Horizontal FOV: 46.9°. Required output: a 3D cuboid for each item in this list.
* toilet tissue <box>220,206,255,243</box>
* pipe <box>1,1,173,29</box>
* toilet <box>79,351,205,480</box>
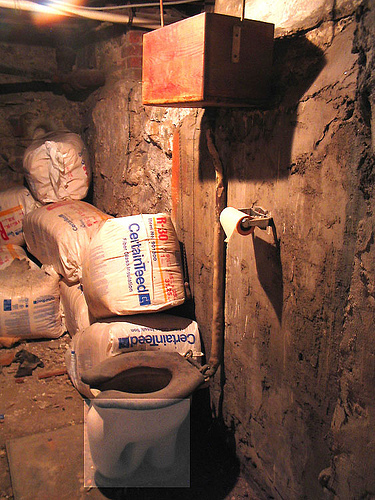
[{"bbox_3d":[0.144,-0.108,1.361,0.097,0.066,0.149,-18,14,-2],"label":"toilet tissue"},{"bbox_3d":[-0.599,-1.425,2.637,0.986,0.155,0.206,-11,13,-20],"label":"pipe"},{"bbox_3d":[-0.141,0.601,1.673,0.450,0.392,0.467,3,27,3],"label":"toilet"}]
